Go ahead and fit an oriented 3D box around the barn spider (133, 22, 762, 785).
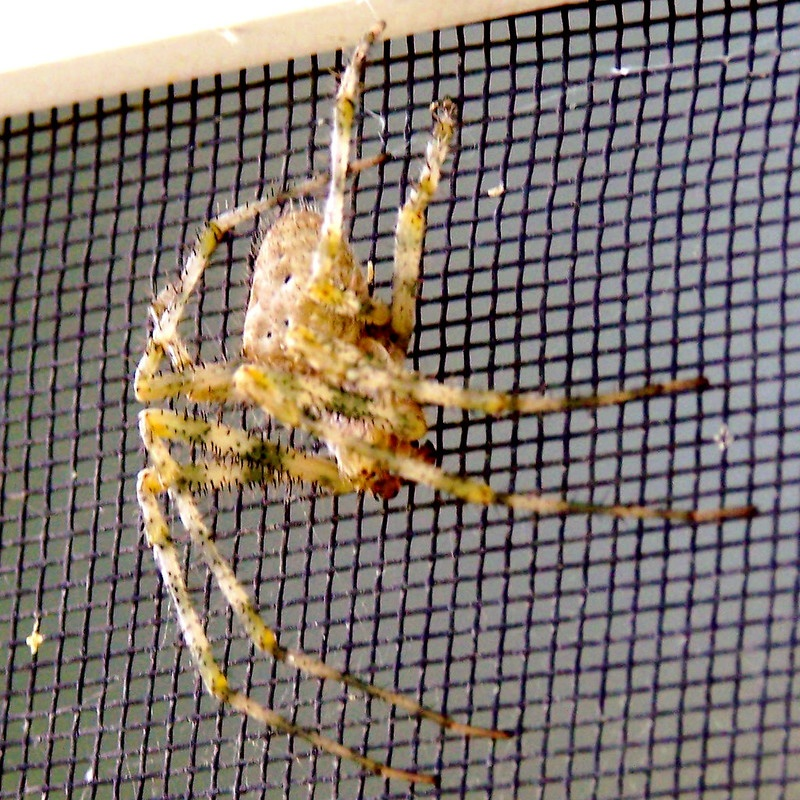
[{"bbox_3d":[-0.062,0.080,2.794,0.794,0.530,0.930,-35,67,0],"label":"barn spider"}]
